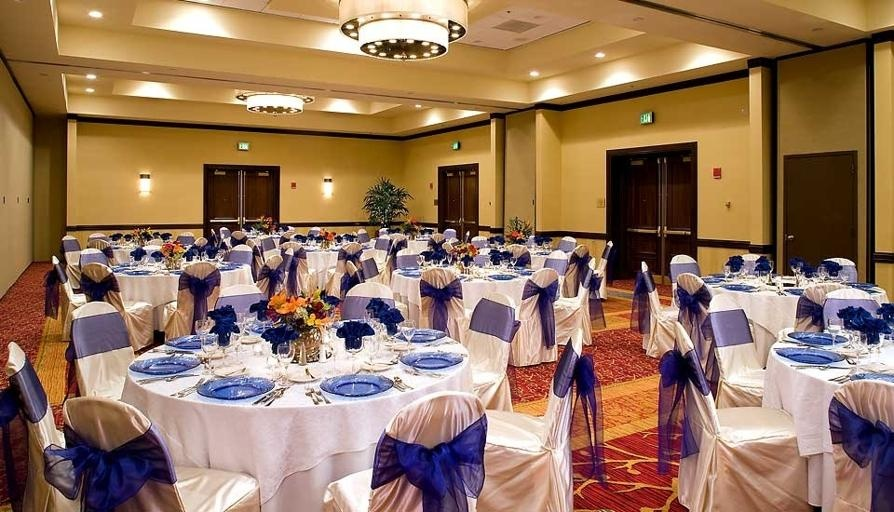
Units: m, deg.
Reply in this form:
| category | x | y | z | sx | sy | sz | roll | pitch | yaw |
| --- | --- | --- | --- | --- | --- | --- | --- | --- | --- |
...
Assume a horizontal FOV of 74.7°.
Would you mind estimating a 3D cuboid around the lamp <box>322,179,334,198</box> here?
| category | x | y | z | sx | sy | sz | roll | pitch | yaw |
| --- | --- | --- | --- | --- | --- | --- | --- | --- | --- |
| lamp | -3.922 | -2.295 | 19.620 | 0.504 | 0.944 | 0.501 | -1 | 7 | -12 |

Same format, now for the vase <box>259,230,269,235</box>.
| category | x | y | z | sx | sy | sz | roll | pitch | yaw |
| --- | --- | --- | --- | --- | --- | --- | --- | --- | --- |
| vase | -4.923 | -0.660 | 15.740 | 0.170 | 0.095 | 0.173 | 1 | 0 | 2 |

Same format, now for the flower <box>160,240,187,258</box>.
| category | x | y | z | sx | sy | sz | roll | pitch | yaw |
| --- | --- | --- | --- | --- | --- | --- | --- | --- | --- |
| flower | -4.467 | -0.119 | 9.600 | 0.321 | 0.282 | 0.327 | 0 | 0 | -4 |

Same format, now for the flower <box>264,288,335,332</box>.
| category | x | y | z | sx | sy | sz | roll | pitch | yaw |
| --- | --- | --- | --- | --- | --- | --- | --- | --- | --- |
| flower | -1.372 | 0.530 | 5.732 | 0.439 | 0.295 | 0.449 | 7 | 0 | 17 |

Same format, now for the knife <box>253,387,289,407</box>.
| category | x | y | z | sx | sy | sz | roll | pitch | yaw |
| --- | --- | --- | --- | --- | --- | --- | --- | --- | --- |
| knife | -1.560 | 1.242 | 5.261 | 0.087 | 0.028 | 0.342 | 17 | 8 | 9 |

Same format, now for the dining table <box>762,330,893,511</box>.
| category | x | y | z | sx | sy | sz | roll | pitch | yaw |
| --- | --- | --- | --- | --- | --- | --- | --- | --- | --- |
| dining table | 3.582 | 1.606 | 6.004 | 1.343 | 1.035 | 1.363 | -1 | 1 | 0 |

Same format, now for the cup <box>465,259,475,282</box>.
| category | x | y | z | sx | sy | sz | roll | pitch | yaw |
| --- | --- | --- | --- | --- | --- | --- | --- | --- | --- |
| cup | 0.319 | 0.218 | 9.242 | 0.245 | 0.282 | 0.252 | -1 | 1 | 0 |

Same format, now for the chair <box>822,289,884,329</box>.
| category | x | y | z | sx | sy | sz | roll | pitch | yaw |
| --- | --- | --- | --- | --- | --- | --- | --- | --- | --- |
| chair | 4.439 | 0.577 | 6.425 | 0.437 | 0.405 | 0.390 | -5 | 9 | -13 |

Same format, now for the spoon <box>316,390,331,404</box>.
| category | x | y | z | sx | sy | sz | roll | pitch | yaw |
| --- | --- | --- | --- | --- | --- | --- | --- | --- | --- |
| spoon | -1.115 | 1.253 | 5.256 | 0.056 | 0.045 | 0.274 | -9 | 4 | -22 |

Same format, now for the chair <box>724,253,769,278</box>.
| category | x | y | z | sx | sy | sz | roll | pitch | yaw |
| --- | --- | --- | --- | --- | --- | --- | --- | --- | --- |
| chair | 4.538 | 0.128 | 8.834 | 0.559 | 0.311 | 1.011 | 1 | 4 | 24 |

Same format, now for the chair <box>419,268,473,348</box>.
| category | x | y | z | sx | sy | sz | roll | pitch | yaw |
| --- | --- | --- | --- | --- | --- | --- | --- | --- | --- |
| chair | -0.071 | 0.633 | 7.997 | 0.832 | 1.338 | 0.883 | 3 | 10 | 11 |

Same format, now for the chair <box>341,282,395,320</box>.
| category | x | y | z | sx | sy | sz | roll | pitch | yaw |
| --- | --- | --- | --- | --- | --- | --- | --- | --- | --- |
| chair | -0.947 | 0.520 | 7.060 | 0.492 | 0.702 | 0.501 | 0 | -3 | 0 |

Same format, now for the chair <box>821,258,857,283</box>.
| category | x | y | z | sx | sy | sz | roll | pitch | yaw |
| --- | --- | --- | --- | --- | --- | --- | --- | --- | --- |
| chair | 5.595 | 0.200 | 8.329 | 0.356 | 0.442 | 0.334 | -1 | -4 | -20 |

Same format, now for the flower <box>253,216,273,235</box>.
| category | x | y | z | sx | sy | sz | roll | pitch | yaw |
| --- | --- | --- | --- | --- | --- | --- | --- | --- | --- |
| flower | -5.190 | -0.876 | 16.443 | 0.605 | 0.593 | 0.622 | 5 | -14 | -17 |

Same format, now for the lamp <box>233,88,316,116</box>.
| category | x | y | z | sx | sy | sz | roll | pitch | yaw |
| --- | --- | --- | --- | --- | --- | --- | --- | --- | --- |
| lamp | -3.979 | -3.614 | 13.586 | 1.626 | 0.420 | 0.845 | -1 | 4 | -9 |

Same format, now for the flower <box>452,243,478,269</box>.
| category | x | y | z | sx | sy | sz | roll | pitch | yaw |
| --- | --- | --- | --- | --- | --- | --- | --- | --- | --- |
| flower | 0.346 | -0.038 | 9.535 | 0.402 | 0.422 | 0.408 | -3 | 5 | -37 |

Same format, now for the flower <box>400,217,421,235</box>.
| category | x | y | z | sx | sy | sz | roll | pitch | yaw |
| --- | --- | --- | --- | --- | --- | --- | --- | --- | --- |
| flower | -0.968 | -0.764 | 15.284 | 0.428 | 0.398 | 1.196 | -1 | 3 | -5 |

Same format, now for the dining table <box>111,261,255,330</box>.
| category | x | y | z | sx | sy | sz | roll | pitch | yaw |
| --- | --- | --- | --- | --- | --- | --- | --- | --- | --- |
| dining table | -4.484 | 0.488 | 9.211 | 1.477 | 0.564 | 1.483 | 1 | 3 | 16 |

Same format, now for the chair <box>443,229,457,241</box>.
| category | x | y | z | sx | sy | sz | roll | pitch | yaw |
| --- | --- | --- | --- | --- | --- | --- | --- | --- | --- |
| chair | 0.083 | -0.559 | 15.070 | 0.342 | 0.488 | 0.417 | 0 | -3 | 7 |

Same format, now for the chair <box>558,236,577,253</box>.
| category | x | y | z | sx | sy | sz | roll | pitch | yaw |
| --- | --- | --- | --- | --- | --- | --- | --- | --- | --- |
| chair | 2.554 | -0.262 | 12.695 | 0.358 | 0.500 | 0.413 | -4 | -3 | 42 |

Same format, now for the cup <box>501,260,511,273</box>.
| category | x | y | z | sx | sy | sz | roll | pitch | yaw |
| --- | --- | --- | --- | --- | --- | --- | --- | --- | --- |
| cup | 1.005 | 0.150 | 9.919 | 0.172 | 0.178 | 0.320 | 2 | -1 | 1 |

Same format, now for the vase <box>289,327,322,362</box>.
| category | x | y | z | sx | sy | sz | roll | pitch | yaw |
| --- | --- | --- | --- | --- | --- | --- | --- | --- | --- |
| vase | -1.356 | 0.852 | 5.785 | 0.310 | 0.359 | 0.315 | 4 | 2 | 41 |

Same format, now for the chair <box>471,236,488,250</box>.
| category | x | y | z | sx | sy | sz | roll | pitch | yaw |
| --- | --- | --- | --- | --- | --- | --- | --- | --- | --- |
| chair | 0.740 | -0.323 | 13.045 | 0.357 | 0.267 | 0.365 | -3 | 6 | -6 |

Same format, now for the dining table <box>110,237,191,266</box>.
| category | x | y | z | sx | sy | sz | roll | pitch | yaw |
| --- | --- | --- | --- | --- | --- | --- | --- | --- | --- |
| dining table | -4.746 | -0.061 | 9.692 | 0.683 | 0.426 | 0.750 | -1 | 2 | -44 |

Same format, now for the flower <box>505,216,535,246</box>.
| category | x | y | z | sx | sy | sz | roll | pitch | yaw |
| --- | --- | --- | --- | --- | --- | --- | --- | --- | --- |
| flower | 1.823 | -0.636 | 14.633 | 0.858 | 0.630 | 0.858 | 4 | 11 | 9 |

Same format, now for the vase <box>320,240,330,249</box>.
| category | x | y | z | sx | sy | sz | roll | pitch | yaw |
| --- | --- | --- | --- | --- | --- | --- | --- | --- | --- |
| vase | -2.700 | -0.277 | 12.983 | 0.167 | 0.203 | 0.199 | -1 | 4 | 1 |

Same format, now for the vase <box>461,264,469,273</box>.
| category | x | y | z | sx | sy | sz | roll | pitch | yaw |
| --- | --- | --- | --- | --- | --- | --- | --- | --- | --- |
| vase | 0.301 | 0.189 | 9.356 | 0.115 | 0.213 | 0.115 | 3 | -8 | -23 |

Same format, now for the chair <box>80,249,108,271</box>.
| category | x | y | z | sx | sy | sz | roll | pitch | yaw |
| --- | --- | --- | --- | --- | --- | --- | --- | --- | --- |
| chair | -5.807 | 0.051 | 9.583 | 0.393 | 0.533 | 0.368 | 3 | 3 | 41 |

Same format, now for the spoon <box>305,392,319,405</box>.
| category | x | y | z | sx | sy | sz | roll | pitch | yaw |
| --- | --- | --- | --- | --- | --- | --- | --- | --- | --- |
| spoon | -1.206 | 1.248 | 5.259 | 0.056 | 0.046 | 0.167 | -9 | 23 | -25 |

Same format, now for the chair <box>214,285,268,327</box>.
| category | x | y | z | sx | sy | sz | roll | pitch | yaw |
| --- | --- | --- | --- | --- | --- | --- | --- | --- | --- |
| chair | -2.406 | 0.537 | 6.844 | 0.498 | 0.638 | 0.434 | 0 | -2 | -26 |

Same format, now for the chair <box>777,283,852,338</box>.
| category | x | y | z | sx | sy | sz | roll | pitch | yaw |
| --- | --- | --- | --- | --- | --- | --- | --- | --- | --- |
| chair | 4.444 | 0.601 | 7.357 | 0.698 | 0.871 | 0.642 | 1 | 5 | -4 |
